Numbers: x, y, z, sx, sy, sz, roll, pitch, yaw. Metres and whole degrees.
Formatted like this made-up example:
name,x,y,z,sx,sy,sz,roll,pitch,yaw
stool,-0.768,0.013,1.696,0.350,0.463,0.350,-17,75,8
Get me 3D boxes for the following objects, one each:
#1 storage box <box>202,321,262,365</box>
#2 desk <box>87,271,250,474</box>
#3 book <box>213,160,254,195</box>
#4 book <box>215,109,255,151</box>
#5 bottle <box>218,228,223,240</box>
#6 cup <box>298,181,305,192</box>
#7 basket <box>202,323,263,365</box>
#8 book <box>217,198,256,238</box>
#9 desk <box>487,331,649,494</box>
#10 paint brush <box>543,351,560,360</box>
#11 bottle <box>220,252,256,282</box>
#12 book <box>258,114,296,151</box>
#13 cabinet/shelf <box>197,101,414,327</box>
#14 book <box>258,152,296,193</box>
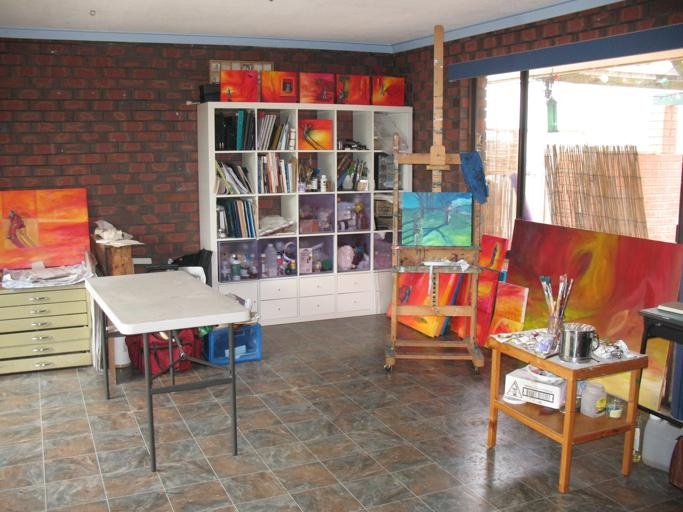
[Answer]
name,x,y,z,sx,sy,sz,roll,pitch,yaw
storage box,-1.169,0.907,5.812,0.612,0.269,0.555,-1,1,-26
desk,-1.534,1.023,4.608,0.796,0.628,1.647,-4,11,-28
book,-1.386,-0.968,6.725,0.460,0.418,0.154,-2,2,-11
book,-1.320,-1.567,6.677,0.503,0.484,0.277,-2,17,-8
bottle,-1.503,-0.293,6.739,0.094,0.125,0.118,0,15,-1
cup,-0.523,-0.914,7.036,0.098,0.142,0.209,-1,14,-4
basket,-1.157,0.947,5.804,0.628,0.270,0.556,-1,1,-24
book,-1.339,-0.489,6.815,0.471,0.493,0.246,-3,17,-9
desk,1.631,1.127,4.033,0.753,0.635,0.884,6,1,-27
paint brush,1.454,0.686,3.762,0.162,0.019,0.066,-12,17,-42
bottle,-1.337,0.139,6.855,0.522,0.362,0.258,0,-1,-29
book,-0.830,-1.560,6.797,0.504,0.439,0.236,-13,21,-40
cabinet/shelf,-0.537,-0.538,6.833,4.195,2.719,0.843,-2,6,-22
book,-0.837,-1.055,6.871,0.479,0.469,0.641,8,10,43
